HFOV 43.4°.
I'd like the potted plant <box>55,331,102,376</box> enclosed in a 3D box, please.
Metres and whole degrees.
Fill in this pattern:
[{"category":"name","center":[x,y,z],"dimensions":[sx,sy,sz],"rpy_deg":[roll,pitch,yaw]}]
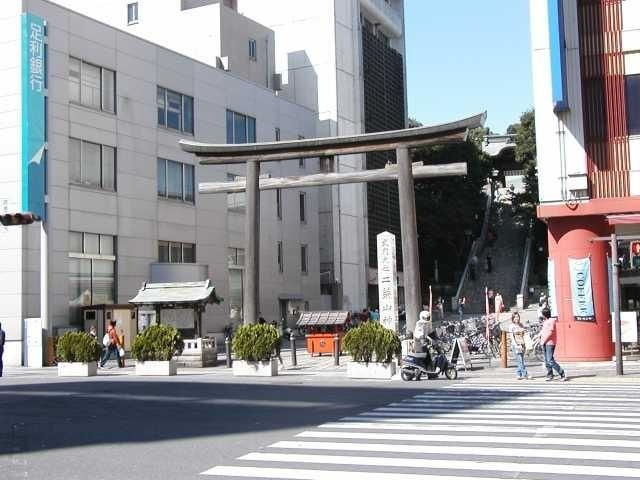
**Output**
[{"category":"potted plant","center":[-9.456,4.221,31.239],"dimensions":[1.591,1.957,1.388],"rpy_deg":[5,17,-17]}]

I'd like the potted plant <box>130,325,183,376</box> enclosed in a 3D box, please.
[{"category":"potted plant","center":[-6.452,4.240,31.096],"dimensions":[1.633,2.064,1.390],"rpy_deg":[1,2,0]}]

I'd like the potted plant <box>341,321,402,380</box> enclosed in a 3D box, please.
[{"category":"potted plant","center":[1.718,3.663,27.954],"dimensions":[1.817,2.185,1.649],"rpy_deg":[1,23,11]}]

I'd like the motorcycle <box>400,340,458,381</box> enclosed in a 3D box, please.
[{"category":"motorcycle","center":[3.426,3.941,26.281],"dimensions":[1.663,1.398,1.049],"rpy_deg":[-1,-1,-15]}]

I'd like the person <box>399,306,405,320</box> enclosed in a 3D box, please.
[{"category":"person","center":[6.327,5.797,63.416],"dimensions":[0.722,1.166,0.270],"rpy_deg":[-2,-4,30]}]

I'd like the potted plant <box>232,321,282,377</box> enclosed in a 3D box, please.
[{"category":"potted plant","center":[-2.499,3.853,29.890],"dimensions":[1.874,2.231,1.648],"rpy_deg":[-4,16,-14]}]

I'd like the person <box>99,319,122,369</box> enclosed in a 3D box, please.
[{"category":"person","center":[-8.899,4.418,34.155],"dimensions":[1.026,1.959,0.681],"rpy_deg":[-1,3,-14]}]
